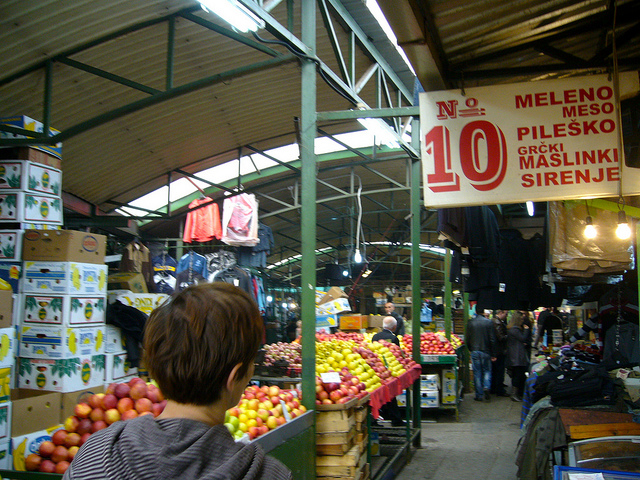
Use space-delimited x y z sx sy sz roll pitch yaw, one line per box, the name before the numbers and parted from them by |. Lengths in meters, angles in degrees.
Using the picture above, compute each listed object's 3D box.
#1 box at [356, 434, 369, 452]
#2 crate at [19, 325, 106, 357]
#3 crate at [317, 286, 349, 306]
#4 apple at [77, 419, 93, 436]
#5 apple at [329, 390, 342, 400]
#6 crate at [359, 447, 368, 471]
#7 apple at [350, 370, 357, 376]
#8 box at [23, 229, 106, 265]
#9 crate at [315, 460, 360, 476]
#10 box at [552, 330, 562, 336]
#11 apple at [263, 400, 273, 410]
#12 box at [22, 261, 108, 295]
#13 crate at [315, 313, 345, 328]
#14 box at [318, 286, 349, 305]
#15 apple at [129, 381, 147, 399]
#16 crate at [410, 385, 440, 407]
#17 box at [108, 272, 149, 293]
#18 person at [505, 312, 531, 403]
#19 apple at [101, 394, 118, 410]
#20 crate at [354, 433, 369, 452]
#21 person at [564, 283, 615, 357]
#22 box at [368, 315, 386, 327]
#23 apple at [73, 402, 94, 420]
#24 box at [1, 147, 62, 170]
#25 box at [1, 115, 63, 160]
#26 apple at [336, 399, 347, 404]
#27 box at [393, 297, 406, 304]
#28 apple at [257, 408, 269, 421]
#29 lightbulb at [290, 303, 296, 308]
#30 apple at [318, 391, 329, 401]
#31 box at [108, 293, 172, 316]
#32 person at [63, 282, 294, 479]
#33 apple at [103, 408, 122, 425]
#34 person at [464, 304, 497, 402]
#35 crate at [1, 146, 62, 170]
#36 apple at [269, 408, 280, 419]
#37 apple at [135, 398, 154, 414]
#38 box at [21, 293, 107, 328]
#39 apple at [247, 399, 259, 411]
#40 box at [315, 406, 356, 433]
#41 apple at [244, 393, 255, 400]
box | 0.482 2.246 6.165 0.159 0.050 0.247 -2 -4 14
crate | -2.859 1.139 6.346 0.625 0.275 0.730 0 -8 9
crate | 0.286 1.294 12.999 0.486 0.302 0.461 -29 2 -41
apple | -1.682 1.360 4.064 0.122 0.088 0.106 3 0 3
apple | 0.164 1.645 5.912 0.098 0.074 0.086 -1 6 10
crate | 0.479 2.408 6.140 0.124 0.157 0.258 0 -11 7
apple | 0.408 1.637 6.889 0.053 0.061 0.093 2 -8 -34
box | -2.880 0.071 6.320 0.587 0.281 0.522 -1 -5 14
crate | 0.163 2.331 5.706 0.382 0.067 0.297 -1 -9 4
box | 6.701 2.653 15.999 0.286 0.171 0.256 -7 -8 33
apple | -0.454 1.516 5.128 0.064 0.033 0.066 32 3 15
box | -2.716 0.427 6.285 0.497 0.334 1.114 2 -1 23
crate | 0.228 1.790 12.391 0.361 0.283 0.783 -7 -8 31
box | 0.351 1.289 12.992 0.292 0.436 0.438 47 -19 -20
apple | -1.334 1.127 4.176 0.125 0.092 0.110 -4 -1 9
crate | 2.047 2.970 10.463 0.336 0.275 0.261 -4 -7 4
box | -2.837 0.622 8.199 0.637 0.268 0.421 -1 -3 26
person | 4.342 2.567 12.339 0.556 1.884 0.687 -6 -8 15
apple | -1.524 1.192 4.121 0.112 0.091 0.116 5 -7 45
crate | 0.475 2.241 6.166 0.171 0.054 0.280 -2 -3 14
person | 4.716 1.377 9.748 0.672 0.984 1.838 -7 -7 22
box | 1.600 2.311 15.936 0.367 0.180 0.363 -2 -3 29
apple | -1.715 1.274 4.139 0.141 0.085 0.097 7 -9 -35
box | -3.513 -1.016 6.808 0.422 0.229 0.354 2 10 1
box | -3.510 -1.152 6.899 0.714 0.363 0.878 -1 -1 -12
apple | 0.223 1.691 5.859 0.052 0.050 0.050 20 36 27
box | 3.300 2.528 23.290 0.357 0.168 0.300 -1 -23 4
apple | -0.488 1.531 4.893 0.106 0.055 0.073 7 -36 36
lightbulb | -0.994 2.451 20.987 0.186 0.161 0.598 -3 -6 -3
apple | 0.040 1.648 5.923 0.109 0.084 0.110 -3 29 -21
box | -2.422 0.868 7.681 0.507 0.292 1.093 -3 -6 1
person | -0.566 0.582 2.282 0.820 0.802 0.188 -4 -8 3
apple | -1.478 1.283 4.068 0.165 0.104 0.066 -7 -8 33
person | 3.545 2.568 12.271 0.608 1.899 0.523 -3 -8 -7
crate | -3.430 -0.909 6.862 0.288 0.399 0.502 -5 -5 27
apple | -0.388 1.572 5.081 0.098 0.088 0.086 -1 3 6
apple | -1.278 1.227 4.143 0.132 0.104 0.093 -1 -8 -15
box | -2.785 0.766 6.272 0.719 0.263 0.456 0 -6 3
apple | -0.585 1.500 5.073 0.082 0.083 0.074 -23 17 14
box | 0.137 1.838 5.805 0.272 0.124 0.339 -3 -8 12
apple | -0.656 1.483 5.292 0.071 0.047 0.056 15 -26 -37
